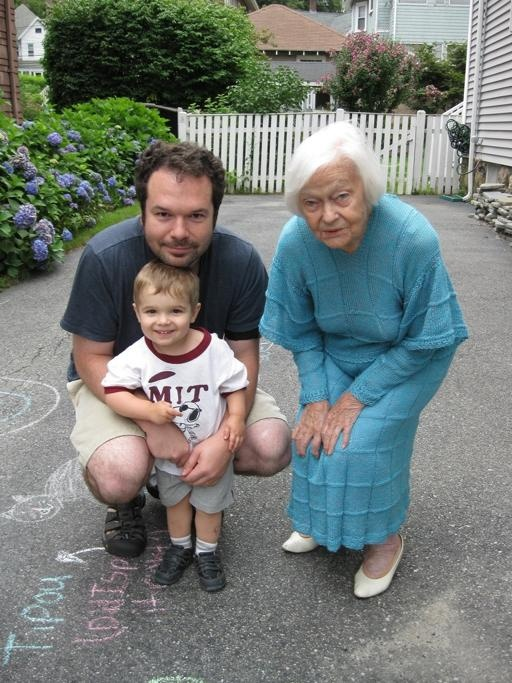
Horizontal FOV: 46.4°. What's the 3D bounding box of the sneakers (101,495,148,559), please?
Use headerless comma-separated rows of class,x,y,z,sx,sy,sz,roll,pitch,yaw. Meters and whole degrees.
sneakers,-0.447,0.635,2.056,0.102,0.105,0.278,0,-1,-5

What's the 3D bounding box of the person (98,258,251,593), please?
person,-0.259,0.263,1.853,0.448,0.990,0.441,0,21,0

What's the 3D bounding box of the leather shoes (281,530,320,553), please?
leather shoes,0.145,0.691,2.057,0.147,0.051,0.049,2,5,-15

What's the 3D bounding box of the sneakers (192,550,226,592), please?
sneakers,-0.145,0.718,1.860,0.061,0.049,0.137,-5,6,-10

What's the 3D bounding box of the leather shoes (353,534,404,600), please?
leather shoes,0.375,0.726,1.905,0.107,0.040,0.270,15,20,21

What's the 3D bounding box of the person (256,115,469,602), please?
person,0.303,0.068,1.864,0.482,1.422,0.590,-18,28,-37

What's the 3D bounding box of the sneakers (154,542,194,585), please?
sneakers,-0.260,0.710,1.896,0.061,0.060,0.152,4,4,16
